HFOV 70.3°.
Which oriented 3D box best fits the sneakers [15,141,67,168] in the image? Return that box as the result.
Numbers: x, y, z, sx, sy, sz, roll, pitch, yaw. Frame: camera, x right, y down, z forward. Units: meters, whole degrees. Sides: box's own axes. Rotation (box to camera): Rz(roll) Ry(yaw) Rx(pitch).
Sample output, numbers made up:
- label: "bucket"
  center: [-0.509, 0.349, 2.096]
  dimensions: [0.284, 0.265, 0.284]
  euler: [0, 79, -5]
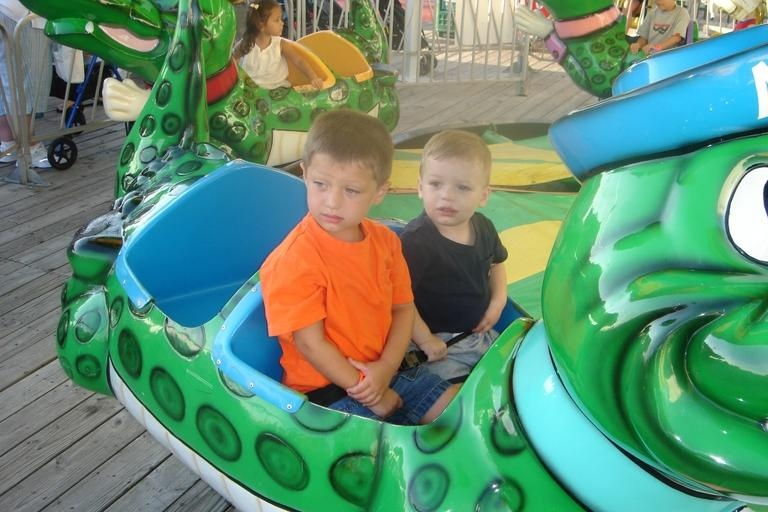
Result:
- label: "sneakers"
  center: [-1.893, -0.557, 2.994]
  dimensions: [0.238, 0.109, 0.108]
  euler: [0, 35, -3]
